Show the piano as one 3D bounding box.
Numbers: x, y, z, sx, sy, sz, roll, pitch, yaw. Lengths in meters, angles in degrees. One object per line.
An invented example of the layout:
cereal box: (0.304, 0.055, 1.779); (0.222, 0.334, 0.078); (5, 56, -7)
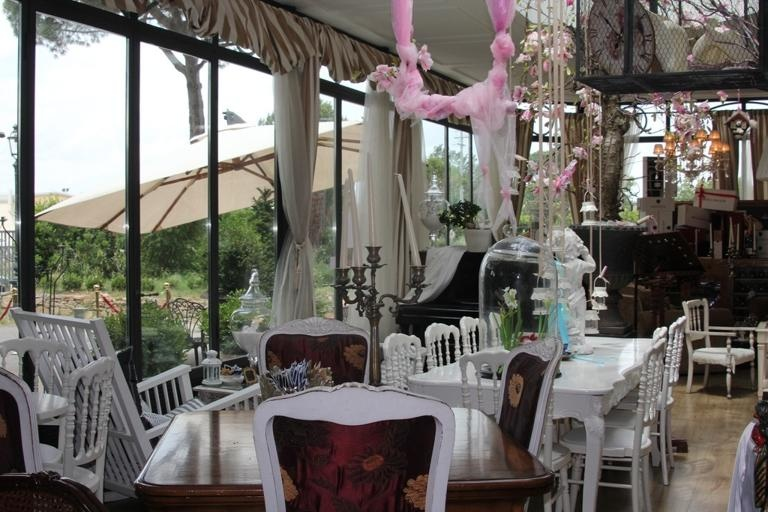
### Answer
piano: (0.604, 0.339, 4.639); (0.889, 0.796, 0.713); (-3, -2, 23)
